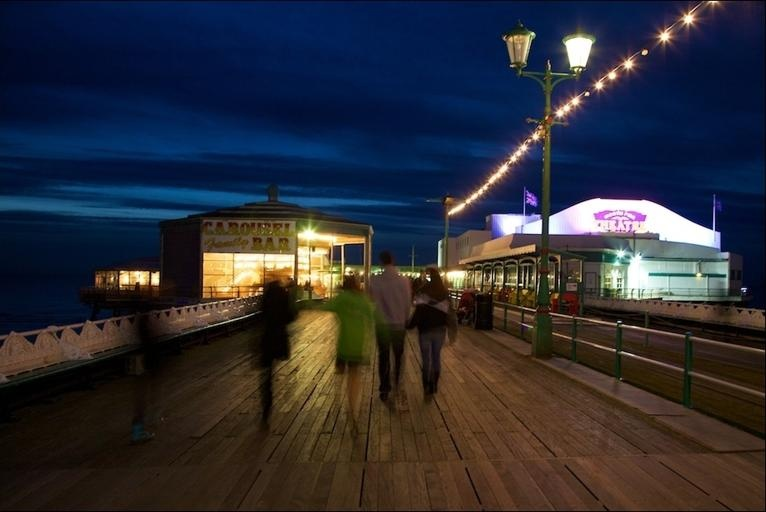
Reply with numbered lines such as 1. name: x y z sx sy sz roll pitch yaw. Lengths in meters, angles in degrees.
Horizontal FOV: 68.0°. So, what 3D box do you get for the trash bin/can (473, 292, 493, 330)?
1. trash bin/can: 3.666 1.999 20.535 0.638 1.228 0.552 0 2 3
